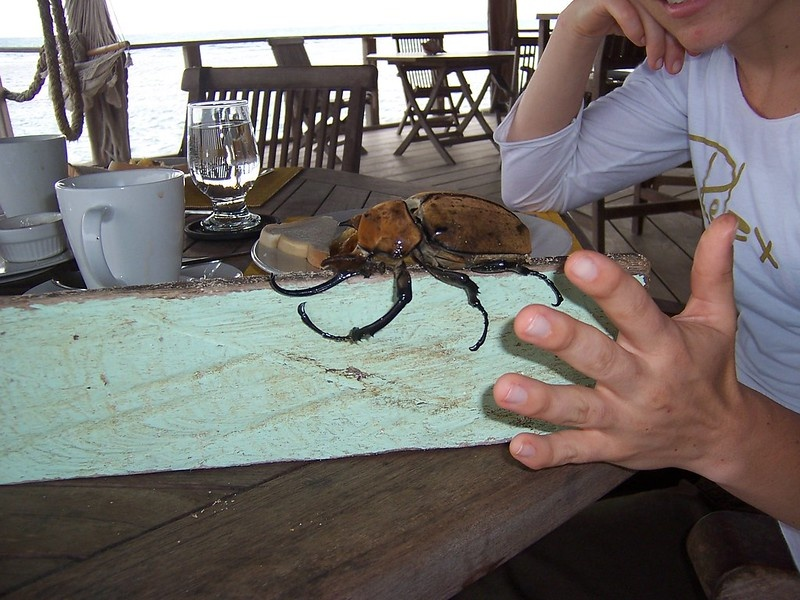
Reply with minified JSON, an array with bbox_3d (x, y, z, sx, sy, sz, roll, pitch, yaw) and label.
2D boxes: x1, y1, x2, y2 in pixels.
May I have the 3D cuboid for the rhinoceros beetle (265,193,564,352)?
[{"bbox_3d":[0.014,-0.046,0.513,0.229,0.071,0.190,-10,29,-22],"label":"rhinoceros beetle"}]

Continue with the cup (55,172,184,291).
[{"bbox_3d":[-0.300,-0.093,0.726,0.165,0.125,0.202,-4,27,-12],"label":"cup"}]

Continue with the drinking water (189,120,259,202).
[{"bbox_3d":[-0.300,-0.242,1.049,0.161,0.140,0.140,-2,13,-21],"label":"drinking water"}]
